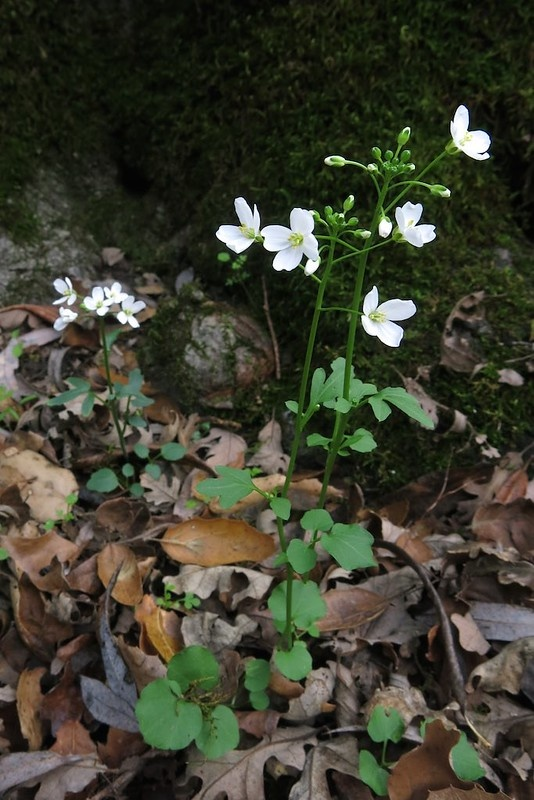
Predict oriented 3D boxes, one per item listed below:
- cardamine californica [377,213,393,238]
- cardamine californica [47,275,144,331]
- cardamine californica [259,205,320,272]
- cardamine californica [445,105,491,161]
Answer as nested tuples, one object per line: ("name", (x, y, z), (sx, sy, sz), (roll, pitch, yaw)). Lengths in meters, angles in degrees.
("cardamine californica", (0.357, -0.529, 2.266), (0.048, 0.031, 0.078), (17, 47, 2))
("cardamine californica", (-0.850, -0.458, 3.593), (0.406, 0.147, 0.356), (13, 27, 18))
("cardamine californica", (0.068, -0.475, 2.252), (0.172, 0.231, 0.180), (1, 44, -2))
("cardamine californica", (0.650, -0.858, 2.358), (0.106, 0.144, 0.192), (22, 46, 18))
